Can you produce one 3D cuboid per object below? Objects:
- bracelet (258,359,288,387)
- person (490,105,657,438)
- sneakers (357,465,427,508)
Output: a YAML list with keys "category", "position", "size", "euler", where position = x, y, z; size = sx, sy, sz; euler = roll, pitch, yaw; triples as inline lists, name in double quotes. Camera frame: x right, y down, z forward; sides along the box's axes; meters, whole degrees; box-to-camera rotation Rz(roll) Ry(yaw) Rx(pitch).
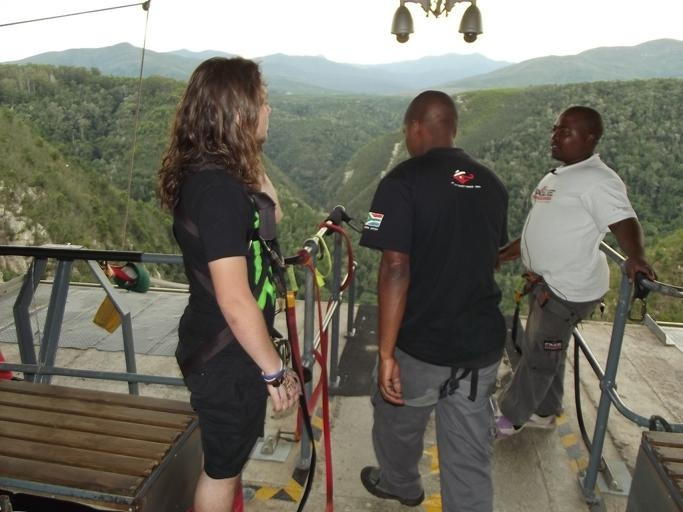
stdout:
- category: "bracelet"
  position: [-0.271, 0.477, 2.089]
  size: [0.079, 0.062, 0.104]
  euler: [-27, -9, 0]
- category: "person"
  position: [1.454, 0.185, 3.284]
  size: [0.798, 2.218, 0.830]
  euler: [12, 19, 31]
- category: "sneakers"
  position: [0.301, 1.384, 3.074]
  size: [0.378, 0.131, 0.165]
  euler: [25, 42, 23]
